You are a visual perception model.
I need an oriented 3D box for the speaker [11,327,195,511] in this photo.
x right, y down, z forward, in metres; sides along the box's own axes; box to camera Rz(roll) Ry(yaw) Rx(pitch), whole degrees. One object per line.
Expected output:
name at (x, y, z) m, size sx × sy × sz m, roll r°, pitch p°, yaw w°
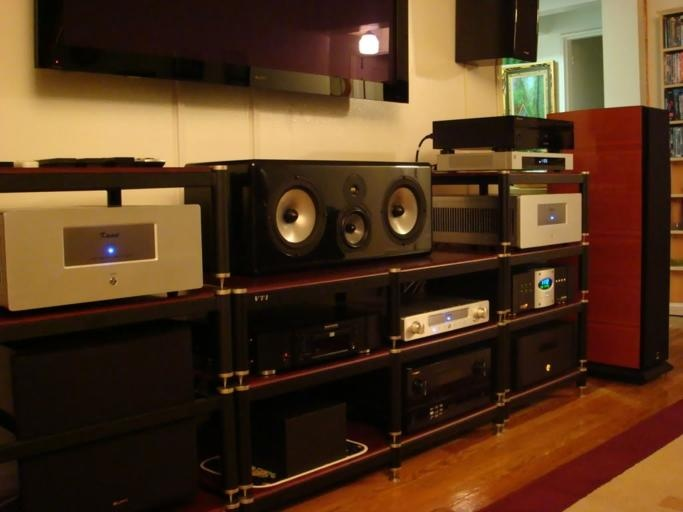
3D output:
speaker at (-0.728, 0.411, 1.712) m, size 0.439 × 0.481 × 0.441 m, roll -1°, pitch 3°, yaw 41°

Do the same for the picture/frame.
picture/frame at (0.992, -0.868, 3.161) m, size 0.281 × 0.297 × 0.179 m, roll 0°, pitch 6°, yaw 20°

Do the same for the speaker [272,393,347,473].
speaker at (-0.106, 0.581, 1.933) m, size 0.272 × 0.241 × 0.096 m, roll -4°, pitch 3°, yaw -44°
